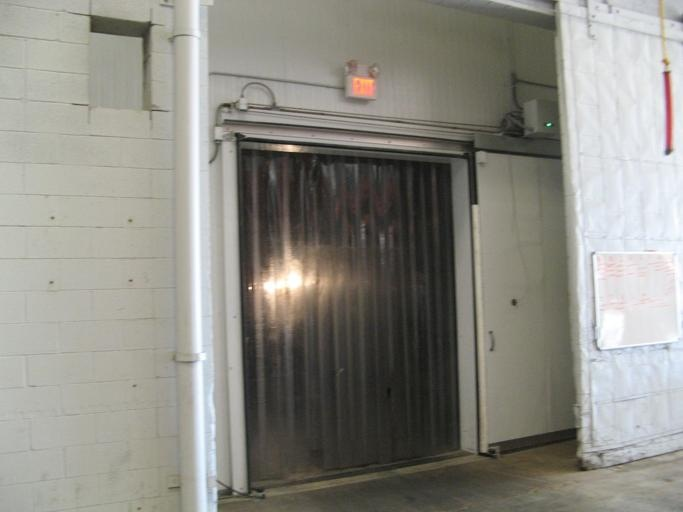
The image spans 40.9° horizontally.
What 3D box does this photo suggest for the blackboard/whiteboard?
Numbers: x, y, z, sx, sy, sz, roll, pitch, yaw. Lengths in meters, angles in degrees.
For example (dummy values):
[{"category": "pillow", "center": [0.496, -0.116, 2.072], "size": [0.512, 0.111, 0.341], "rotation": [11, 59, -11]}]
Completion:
[{"category": "blackboard/whiteboard", "center": [2.387, 0.372, 7.510], "size": [1.026, 0.605, 0.038], "rotation": [0, -2, -27]}]
